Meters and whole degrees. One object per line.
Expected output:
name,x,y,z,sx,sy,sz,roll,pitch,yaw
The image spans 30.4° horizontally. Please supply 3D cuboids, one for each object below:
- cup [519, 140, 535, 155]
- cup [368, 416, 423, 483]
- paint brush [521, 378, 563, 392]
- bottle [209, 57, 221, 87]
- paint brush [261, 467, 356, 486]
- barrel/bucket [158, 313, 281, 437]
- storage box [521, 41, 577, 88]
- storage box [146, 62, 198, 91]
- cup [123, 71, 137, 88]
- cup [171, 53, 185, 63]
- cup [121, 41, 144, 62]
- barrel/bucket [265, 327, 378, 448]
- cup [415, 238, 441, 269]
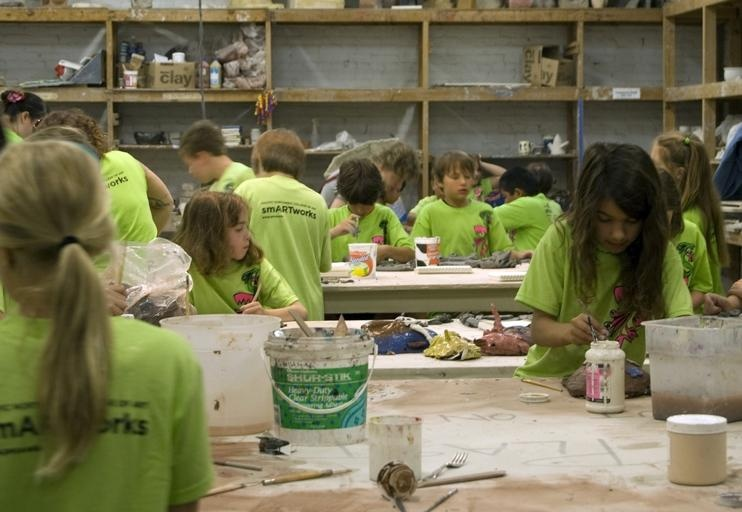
cup,1.473,-0.993,12.624,0.156,0.142,0.093,0,3,-10
cup,0.116,0.845,6.097,0.260,0.270,0.258,0,3,0
paint brush,0.848,0.631,6.738,0.162,0.027,0.025,9,29,36
bottle,-1.355,-1.578,11.939,0.114,0.242,0.187,-2,6,-6
paint brush,-0.268,0.963,6.002,0.287,0.028,0.040,-4,-14,-11
barrel/bucket,-0.682,0.528,6.455,0.563,0.479,0.555,0,3,0
storage box,1.635,-1.717,12.465,0.436,0.406,0.433,1,0,-3
storage box,-1.734,-1.569,11.907,0.427,0.220,0.159,-2,6,-7
cup,-2.091,-1.530,11.901,0.163,0.153,0.120,0,10,-5
cup,-1.687,-1.733,11.976,0.107,0.070,0.103,0,-1,0
cup,-2.151,-1.832,12.225,0.157,0.243,0.106,-4,-3,-17
barrel/bucket,-0.237,0.592,6.215,0.537,0.416,0.505,1,-5,0
cup,0.403,-0.020,9.206,0.184,0.174,0.179,-1,2,0
